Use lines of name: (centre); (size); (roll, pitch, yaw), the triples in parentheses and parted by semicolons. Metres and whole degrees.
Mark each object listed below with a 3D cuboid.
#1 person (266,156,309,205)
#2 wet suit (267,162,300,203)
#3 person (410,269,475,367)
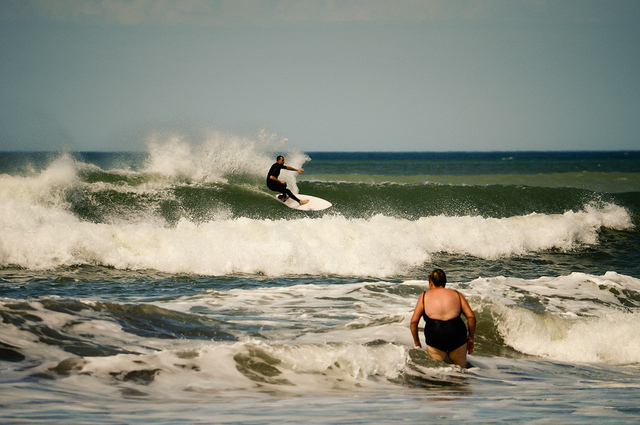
person: (-1.025, -0.968, 27.190); (0.816, 1.457, 1.007); (11, 14, 35)
wet suit: (-1.033, -0.908, 27.199); (0.881, 1.194, 0.829); (6, 12, 16)
person: (2.357, 2.025, 17.503); (1.203, 1.801, 0.564); (4, 12, 6)
